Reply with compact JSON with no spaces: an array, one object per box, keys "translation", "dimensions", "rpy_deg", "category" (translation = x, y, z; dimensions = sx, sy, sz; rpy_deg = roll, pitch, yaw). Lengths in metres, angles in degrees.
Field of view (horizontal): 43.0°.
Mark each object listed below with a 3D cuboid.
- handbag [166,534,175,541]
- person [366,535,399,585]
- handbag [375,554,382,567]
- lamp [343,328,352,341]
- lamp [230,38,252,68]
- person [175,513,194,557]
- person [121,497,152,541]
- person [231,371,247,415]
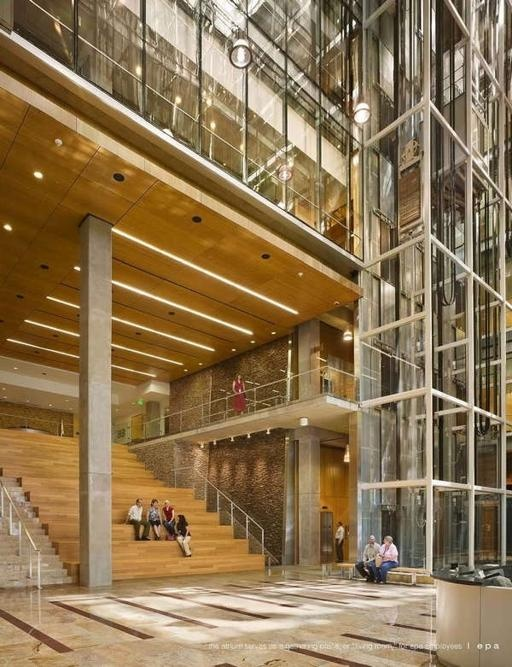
[{"translation":[-1.982,4.775,15.156],"dimensions":[0.122,0.098,0.129],"rpy_deg":[-4,-13,7],"category":"handbag"},{"translation":[2.542,4.538,12.972],"dimensions":[0.535,0.893,0.600],"rpy_deg":[-1,-15,8],"category":"person"},{"translation":[2.459,4.554,12.997],"dimensions":[0.059,0.210,0.144],"rpy_deg":[13,-6,-39],"category":"handbag"},{"translation":[3.010,0.014,20.805],"dimensions":[0.347,0.400,0.351],"rpy_deg":[-4,-3,-16],"category":"lamp"},{"translation":[-0.213,-3.927,8.948],"dimensions":[0.277,0.435,0.355],"rpy_deg":[3,-15,-7],"category":"lamp"},{"translation":[-1.624,4.628,14.817],"dimensions":[0.375,0.903,0.742],"rpy_deg":[3,-15,-6],"category":"person"},{"translation":[-2.707,4.239,14.696],"dimensions":[0.558,0.958,0.627],"rpy_deg":[-21,-28,41],"category":"person"},{"translation":[-0.495,1.921,20.396],"dimensions":[0.445,1.274,0.864],"rpy_deg":[2,-15,-2],"category":"person"}]
